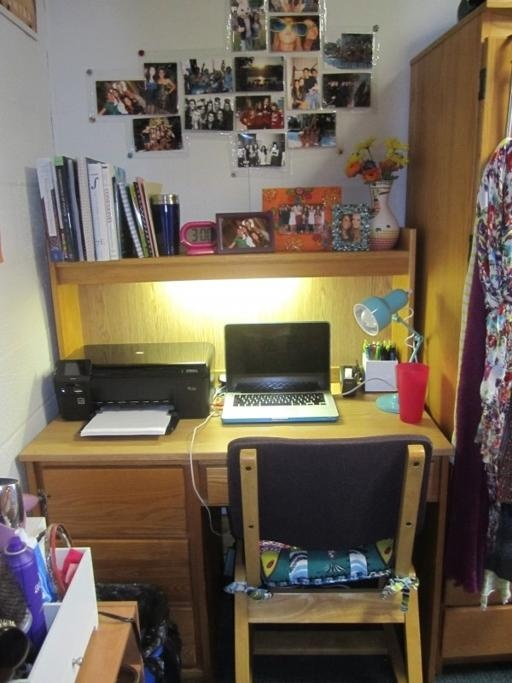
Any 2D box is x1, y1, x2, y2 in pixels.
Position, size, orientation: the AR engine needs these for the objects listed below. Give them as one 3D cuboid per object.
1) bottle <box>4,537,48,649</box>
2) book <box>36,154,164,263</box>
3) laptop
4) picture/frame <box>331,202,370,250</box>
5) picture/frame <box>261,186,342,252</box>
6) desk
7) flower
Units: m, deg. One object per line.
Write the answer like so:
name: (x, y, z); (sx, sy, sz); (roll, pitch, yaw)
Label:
bottle: (-0.375, 0.417, 0.917); (0.043, 0.177, 0.080); (-13, 19, -28)
book: (-0.463, -0.403, 1.852); (0.298, 0.399, 0.414); (0, 21, 4)
laptop: (0.072, 0.143, 1.797); (0.435, 0.306, 0.304); (0, 19, 0)
picture/frame: (0.304, -0.366, 1.788); (0.146, 0.177, 0.019); (1, 15, 4)
picture/frame: (0.152, -0.393, 1.822); (0.222, 0.186, 0.022); (-1, 0, 4)
desk: (-0.043, 0.324, 1.578); (1.319, 1.273, 0.674); (-2, 15, -1)
flower: (0.413, -0.612, 1.891); (0.195, 0.150, 0.255); (0, 17, 16)
